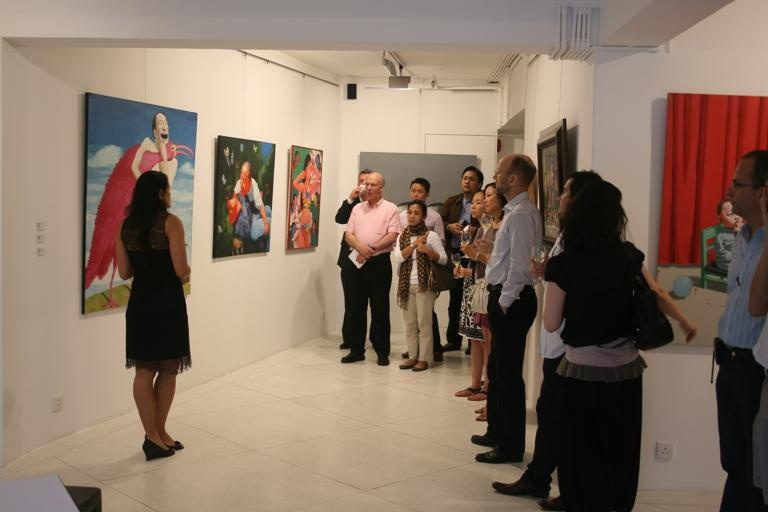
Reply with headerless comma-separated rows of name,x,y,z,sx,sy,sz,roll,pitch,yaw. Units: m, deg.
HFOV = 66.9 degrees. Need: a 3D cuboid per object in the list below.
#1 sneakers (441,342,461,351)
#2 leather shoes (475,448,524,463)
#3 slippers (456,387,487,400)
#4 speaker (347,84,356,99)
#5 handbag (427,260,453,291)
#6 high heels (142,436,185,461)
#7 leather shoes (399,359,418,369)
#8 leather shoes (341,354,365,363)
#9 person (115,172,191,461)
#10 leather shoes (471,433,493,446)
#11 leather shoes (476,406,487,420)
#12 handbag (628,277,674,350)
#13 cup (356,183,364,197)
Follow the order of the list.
sneakers,0.901,1.218,7.814,0.287,0.114,0.102,3,-3,-18
leather shoes,0.925,1.632,4.773,0.402,0.146,0.137,2,-1,1
slippers,0.907,1.394,6.000,0.286,0.071,0.150,2,1,-20
speaker,-0.493,-2.508,8.807,0.148,0.242,0.059,0,8,-4
handbag,0.628,0.220,6.700,0.367,0.359,0.152,-4,6,-39
high heels,-1.805,1.576,4.769,0.376,0.159,0.135,-1,1,-45
leather shoes,0.294,1.305,7.003,0.231,0.091,0.083,0,-4,-33
leather shoes,-0.379,1.249,7.180,0.308,0.121,0.103,1,3,-16
person,-1.832,0.477,4.671,0.523,2.299,0.339,-3,9,-21
leather shoes,0.848,1.591,5.032,0.206,0.083,0.075,8,1,10
leather shoes,0.920,1.508,5.529,0.077,0.104,0.258,0,-10,7
handbag,1.594,0.335,3.482,0.240,0.455,0.206,2,8,8
cup,-0.292,-0.829,7.164,0.044,0.112,0.083,7,2,-14
